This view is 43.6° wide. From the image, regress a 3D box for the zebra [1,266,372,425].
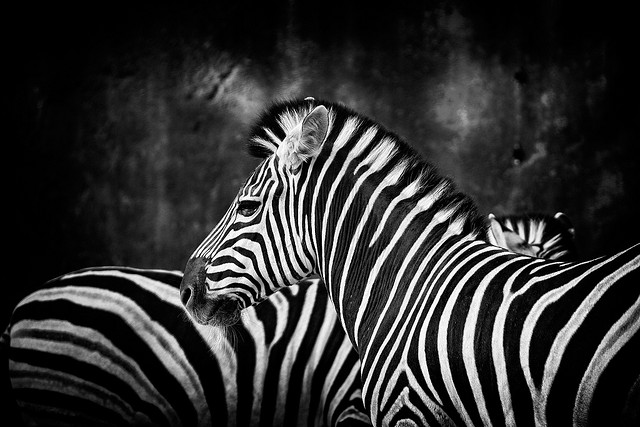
[{"bbox_3d":[-0.557,0.515,3.557,1.721,1.048,0.589,1,-4,-8],"label":"zebra"}]
